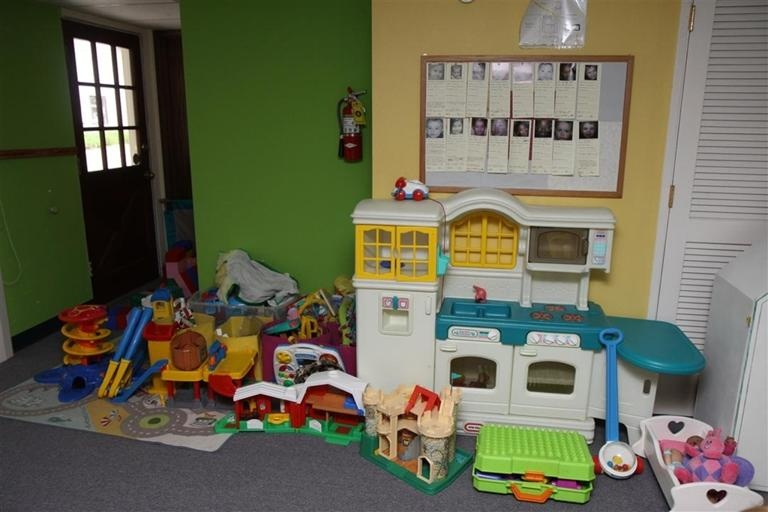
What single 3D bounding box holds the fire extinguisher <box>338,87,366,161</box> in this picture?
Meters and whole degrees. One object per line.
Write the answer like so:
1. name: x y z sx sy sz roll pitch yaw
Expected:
1. fire extinguisher: -0.262 -1.059 4.508 0.222 0.603 0.230 1 11 -6
